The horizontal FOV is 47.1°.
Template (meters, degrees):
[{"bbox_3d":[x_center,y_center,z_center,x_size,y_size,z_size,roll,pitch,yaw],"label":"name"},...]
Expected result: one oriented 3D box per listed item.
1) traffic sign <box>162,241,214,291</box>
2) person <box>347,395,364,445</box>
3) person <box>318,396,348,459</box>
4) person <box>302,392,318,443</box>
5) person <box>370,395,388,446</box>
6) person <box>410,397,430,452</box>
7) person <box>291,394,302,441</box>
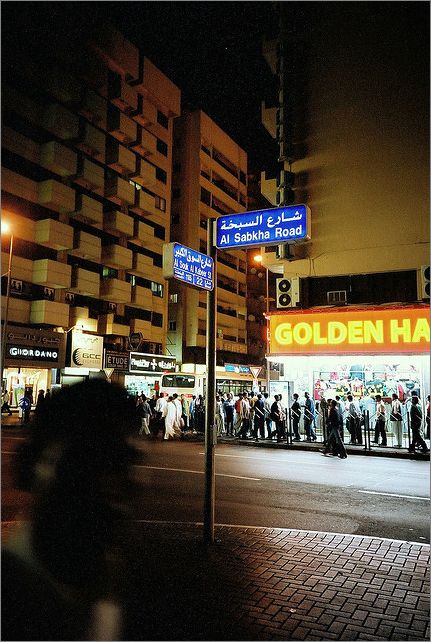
[{"bbox_3d":[-0.341,-0.665,6.133,0.208,0.472,0.963,-3,-10,28],"label":"traffic sign"},{"bbox_3d":[5.413,3.846,19.159,0.481,1.843,0.715,-1,-8,14],"label":"person"},{"bbox_3d":[3.989,3.595,16.565,0.766,1.846,1.330,0,-9,12],"label":"person"},{"bbox_3d":[3.971,4.019,20.747,0.464,1.963,1.114,0,-8,12],"label":"person"},{"bbox_3d":[6.366,3.825,19.073,0.446,1.939,0.699,-1,-9,18],"label":"person"},{"bbox_3d":[7.062,3.566,17.203,0.495,1.903,1.504,-2,-9,22],"label":"person"},{"bbox_3d":[3.422,4.077,20.971,0.403,1.914,1.354,0,-8,9],"label":"person"}]
